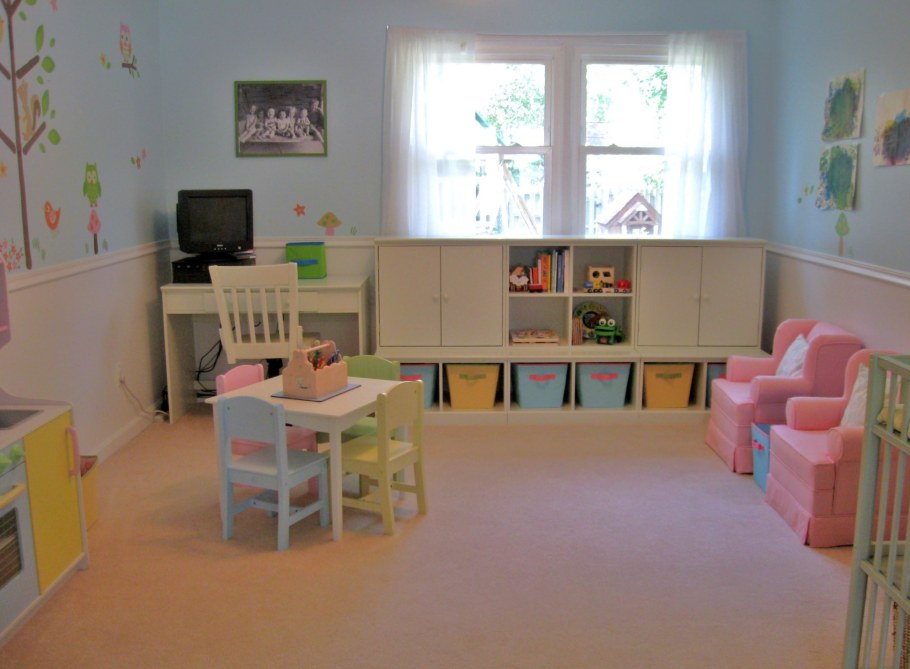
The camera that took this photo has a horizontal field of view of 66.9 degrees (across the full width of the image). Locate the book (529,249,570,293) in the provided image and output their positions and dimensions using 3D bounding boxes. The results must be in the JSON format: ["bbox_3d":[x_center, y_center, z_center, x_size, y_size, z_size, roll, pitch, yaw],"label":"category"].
[{"bbox_3d":[0.672,-0.458,4.913,0.270,0.297,0.105,0,12,3],"label":"book"}]

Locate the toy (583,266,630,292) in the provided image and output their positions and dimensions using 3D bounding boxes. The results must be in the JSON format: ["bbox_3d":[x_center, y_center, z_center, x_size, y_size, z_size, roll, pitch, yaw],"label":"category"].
[{"bbox_3d":[1.102,-0.413,5.026,0.318,0.168,0.315,0,12,4],"label":"toy"}]

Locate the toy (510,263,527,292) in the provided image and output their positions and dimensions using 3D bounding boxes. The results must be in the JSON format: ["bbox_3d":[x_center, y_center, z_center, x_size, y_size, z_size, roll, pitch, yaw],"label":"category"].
[{"bbox_3d":[0.460,-0.400,4.935,0.114,0.175,0.060,-1,8,-1],"label":"toy"}]

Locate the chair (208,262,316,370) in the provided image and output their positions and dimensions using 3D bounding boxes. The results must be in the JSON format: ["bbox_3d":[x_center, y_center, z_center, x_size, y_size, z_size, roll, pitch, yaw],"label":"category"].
[{"bbox_3d":[-1.222,-0.145,4.420,0.484,0.923,0.580,-1,30,-7],"label":"chair"}]

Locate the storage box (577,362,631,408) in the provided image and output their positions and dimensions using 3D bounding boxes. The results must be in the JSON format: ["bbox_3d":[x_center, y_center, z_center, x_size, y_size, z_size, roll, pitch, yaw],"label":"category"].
[{"bbox_3d":[1.034,0.350,4.810,0.274,0.269,0.348,0,1,-3],"label":"storage box"}]

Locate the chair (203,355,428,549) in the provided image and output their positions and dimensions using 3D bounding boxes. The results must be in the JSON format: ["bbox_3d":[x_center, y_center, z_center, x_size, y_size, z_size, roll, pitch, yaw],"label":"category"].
[{"bbox_3d":[-0.651,0.540,3.479,0.870,0.653,0.741,2,7,18],"label":"chair"}]

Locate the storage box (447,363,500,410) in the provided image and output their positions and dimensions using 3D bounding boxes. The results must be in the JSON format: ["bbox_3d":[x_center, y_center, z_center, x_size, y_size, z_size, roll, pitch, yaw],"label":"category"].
[{"bbox_3d":[0.125,0.360,4.927,0.342,0.277,0.301,0,-1,0],"label":"storage box"}]

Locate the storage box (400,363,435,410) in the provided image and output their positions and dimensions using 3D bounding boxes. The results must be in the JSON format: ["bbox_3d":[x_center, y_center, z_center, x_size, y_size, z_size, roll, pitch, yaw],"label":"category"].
[{"bbox_3d":[-0.226,0.346,4.791,0.284,0.398,0.264,0,2,-1],"label":"storage box"}]

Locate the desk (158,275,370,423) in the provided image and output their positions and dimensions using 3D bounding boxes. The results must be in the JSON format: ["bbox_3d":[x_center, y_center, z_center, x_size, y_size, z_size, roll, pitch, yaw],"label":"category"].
[{"bbox_3d":[-1.191,0.055,4.268,0.907,0.747,0.369,0,23,-2],"label":"desk"}]

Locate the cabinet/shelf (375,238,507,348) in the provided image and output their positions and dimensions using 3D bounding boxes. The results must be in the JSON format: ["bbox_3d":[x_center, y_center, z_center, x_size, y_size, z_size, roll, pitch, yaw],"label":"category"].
[{"bbox_3d":[-0.101,-0.321,4.823,0.677,0.627,0.275,0,3,0],"label":"cabinet/shelf"}]

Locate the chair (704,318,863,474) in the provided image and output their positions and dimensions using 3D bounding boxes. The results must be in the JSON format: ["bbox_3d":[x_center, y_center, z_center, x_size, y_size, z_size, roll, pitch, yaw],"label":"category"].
[{"bbox_3d":[1.983,0.355,4.230,0.824,0.836,0.795,-5,12,-28],"label":"chair"}]

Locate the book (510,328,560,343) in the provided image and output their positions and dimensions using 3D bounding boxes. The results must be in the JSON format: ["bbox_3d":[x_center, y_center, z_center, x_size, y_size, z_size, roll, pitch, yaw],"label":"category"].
[{"bbox_3d":[0.581,0.017,5.025,0.370,0.069,0.199,-1,12,-3],"label":"book"}]

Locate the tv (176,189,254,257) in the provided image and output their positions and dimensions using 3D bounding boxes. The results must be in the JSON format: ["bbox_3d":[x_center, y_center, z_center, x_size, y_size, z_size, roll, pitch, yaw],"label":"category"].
[{"bbox_3d":[-1.631,-0.756,4.847,0.609,0.567,0.385,-1,5,-8],"label":"tv"}]

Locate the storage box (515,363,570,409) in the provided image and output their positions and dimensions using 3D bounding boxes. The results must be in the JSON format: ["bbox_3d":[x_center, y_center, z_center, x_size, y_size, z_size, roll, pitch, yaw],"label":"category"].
[{"bbox_3d":[0.602,0.355,4.803,0.323,0.263,0.283,0,2,1],"label":"storage box"}]

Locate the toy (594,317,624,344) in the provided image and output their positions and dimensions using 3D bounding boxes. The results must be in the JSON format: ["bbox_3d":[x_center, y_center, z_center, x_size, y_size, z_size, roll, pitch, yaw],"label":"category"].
[{"bbox_3d":[1.124,-0.026,4.975,0.181,0.199,0.186,0,2,10],"label":"toy"}]

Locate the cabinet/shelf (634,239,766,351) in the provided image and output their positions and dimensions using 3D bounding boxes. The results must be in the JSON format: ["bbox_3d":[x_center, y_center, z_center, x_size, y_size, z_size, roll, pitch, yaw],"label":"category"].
[{"bbox_3d":[1.715,-0.307,4.832,0.678,0.623,0.279,0,5,1],"label":"cabinet/shelf"}]

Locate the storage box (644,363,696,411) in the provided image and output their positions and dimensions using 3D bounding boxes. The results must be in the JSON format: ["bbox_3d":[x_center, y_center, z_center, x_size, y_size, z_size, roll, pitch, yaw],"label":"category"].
[{"bbox_3d":[1.491,0.351,4.850,0.307,0.332,0.326,0,4,1],"label":"storage box"}]

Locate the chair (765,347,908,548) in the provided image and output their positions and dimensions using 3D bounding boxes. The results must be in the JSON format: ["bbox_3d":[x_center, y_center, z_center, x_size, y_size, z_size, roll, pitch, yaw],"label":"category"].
[{"bbox_3d":[1.934,0.532,3.429,0.653,0.823,0.692,-6,11,-16],"label":"chair"}]
